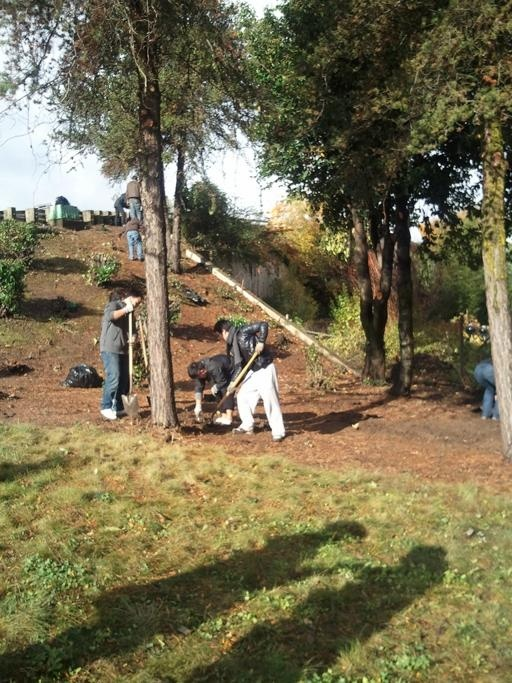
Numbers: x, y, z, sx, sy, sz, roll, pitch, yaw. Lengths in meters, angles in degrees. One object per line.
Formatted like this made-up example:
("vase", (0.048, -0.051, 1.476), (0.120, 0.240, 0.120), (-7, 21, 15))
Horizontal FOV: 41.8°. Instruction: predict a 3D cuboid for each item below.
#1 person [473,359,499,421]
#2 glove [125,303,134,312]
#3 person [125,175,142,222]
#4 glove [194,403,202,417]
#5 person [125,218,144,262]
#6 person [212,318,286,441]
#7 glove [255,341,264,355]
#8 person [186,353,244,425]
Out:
("person", (3.430, 0.711, 9.983), (0.367, 0.936, 0.847), (3, 10, 19))
("glove", (-1.564, -0.428, 8.276), (0.064, 0.028, 0.092), (3, 45, 0))
("person", (-2.906, -3.357, 15.878), (0.368, 1.060, 1.326), (-2, 10, -11))
("glove", (-0.793, 0.938, 9.141), (0.075, 0.197, 0.179), (-2, 10, -13))
("person", (-2.982, -2.481, 16.399), (0.355, 1.071, 1.485), (-2, 10, -10))
("person", (-0.067, 0.478, 8.374), (0.798, 1.484, 0.341), (6, 11, 32))
("glove", (0.048, 0.075, 8.144), (0.095, 0.140, 0.044), (13, -23, 42))
("person", (-0.565, 0.660, 9.257), (0.470, 1.078, 0.839), (6, 22, 40))
